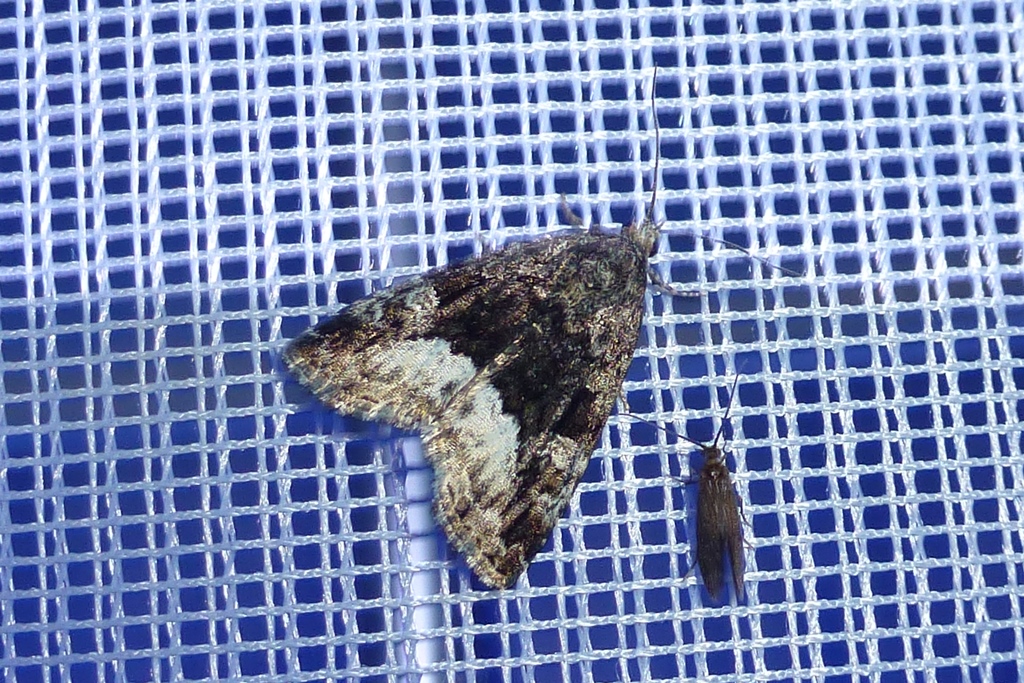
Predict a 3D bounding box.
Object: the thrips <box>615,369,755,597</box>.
[{"bbox_3d":[0.777,0.589,7.573,0.381,0.141,0.768,-4,83,8],"label":"thrips"}]
